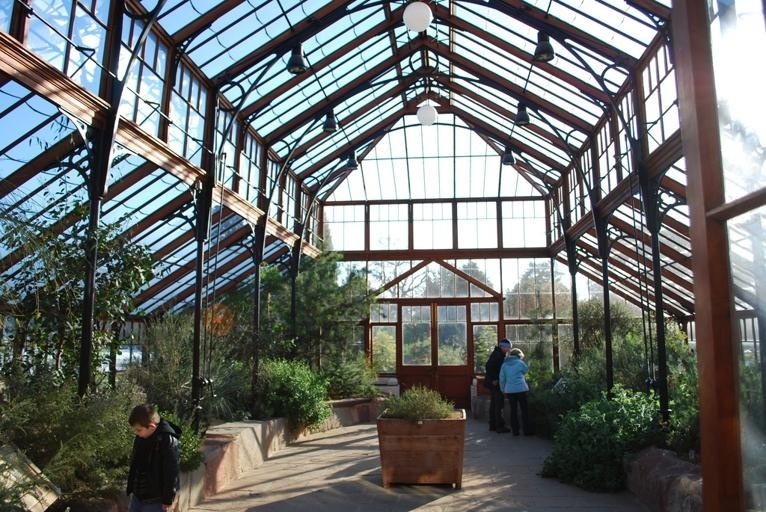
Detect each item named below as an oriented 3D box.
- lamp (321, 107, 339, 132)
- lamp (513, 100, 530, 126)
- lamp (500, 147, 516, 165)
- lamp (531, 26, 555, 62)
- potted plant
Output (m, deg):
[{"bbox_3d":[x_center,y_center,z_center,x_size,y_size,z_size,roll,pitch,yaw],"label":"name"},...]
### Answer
[{"bbox_3d":[-1.149,-2.940,15.504,0.255,0.469,0.478,-1,11,0],"label":"lamp"},{"bbox_3d":[2.969,-2.984,15.047,0.309,0.479,0.952,1,12,11],"label":"lamp"},{"bbox_3d":[3.078,-2.424,17.302,0.267,0.370,0.743,1,12,7],"label":"lamp"},{"bbox_3d":[2.920,-3.767,12.880,0.333,0.511,1.293,2,12,12],"label":"lamp"},{"bbox_3d":[0.603,2.838,11.522,1.354,1.833,1.308,0,-10,2],"label":"potted plant"}]
